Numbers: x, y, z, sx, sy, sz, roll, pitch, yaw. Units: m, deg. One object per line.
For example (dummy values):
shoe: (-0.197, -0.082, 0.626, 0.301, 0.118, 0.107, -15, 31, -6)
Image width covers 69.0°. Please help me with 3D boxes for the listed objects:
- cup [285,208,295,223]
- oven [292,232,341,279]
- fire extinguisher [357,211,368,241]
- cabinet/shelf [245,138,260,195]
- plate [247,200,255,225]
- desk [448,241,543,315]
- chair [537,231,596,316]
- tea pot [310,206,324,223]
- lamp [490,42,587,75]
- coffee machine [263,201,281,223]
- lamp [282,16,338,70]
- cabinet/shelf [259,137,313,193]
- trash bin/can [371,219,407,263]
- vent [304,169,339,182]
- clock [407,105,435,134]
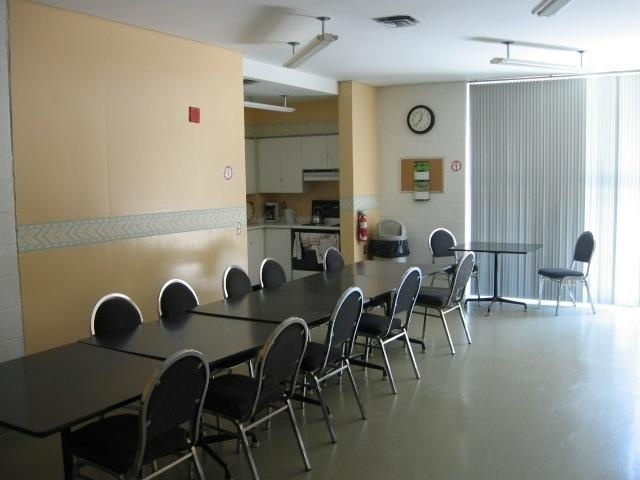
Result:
cup: (-0.557, -0.443, 8.308, 0.167, 0.249, 0.295, 0, 8, 0)
oven: (-0.010, 0.257, 7.812, 0.829, 0.858, 0.524, -2, 0, 22)
fire extinguisher: (0.677, -0.233, 7.345, 0.120, 0.476, 0.327, 4, 9, 27)
cabinet/shelf: (-1.207, -1.305, 8.106, 0.128, 0.941, 0.439, 2, 9, 18)
plate: (-1.255, -0.510, 8.365, 0.072, 0.340, 0.286, 3, 11, -25)
desk: (2.459, 0.355, 6.544, 1.074, 1.061, 1.095, 4, 7, 42)
chair: (3.409, 0.417, 6.449, 0.747, 1.105, 0.864, 3, 9, 24)
tea pot: (-0.084, -0.430, 8.031, 0.228, 0.271, 0.214, 0, 8, 0)
lamp: (2.642, -2.118, 5.542, 0.807, 0.213, 1.883, 5, 10, 32)
coffee machine: (-0.904, -0.523, 8.435, 0.351, 0.340, 0.124, 6, 10, 37)
lamp: (-0.091, -1.889, 4.402, 0.343, 0.326, 0.892, -3, 9, -17)
cabinet/shelf: (-0.566, -1.315, 8.023, 0.810, 1.097, 0.346, 1, 4, 25)
trash bin/can: (1.134, -0.002, 7.558, 0.500, 0.771, 0.567, 4, 10, 23)
vent: (0.015, -1.087, 7.818, 0.693, 0.212, 0.114, 5, 10, 32)
clock: (1.580, -1.915, 7.341, 0.401, 0.467, 0.074, 3, 6, 36)
